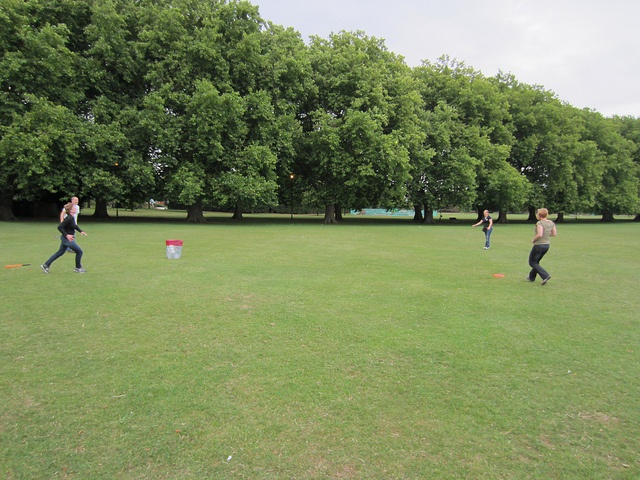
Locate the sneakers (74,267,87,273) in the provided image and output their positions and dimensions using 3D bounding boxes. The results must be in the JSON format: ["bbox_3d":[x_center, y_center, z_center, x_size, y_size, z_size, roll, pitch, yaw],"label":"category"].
[{"bbox_3d":[-7.548,0.949,15.641,0.373,0.165,0.154,3,7,-9],"label":"sneakers"}]

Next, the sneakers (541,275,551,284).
[{"bbox_3d":[6.900,1.180,15.139,0.160,0.179,0.428,11,35,28],"label":"sneakers"}]

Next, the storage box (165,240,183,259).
[{"bbox_3d":[-5.354,0.337,18.385,0.679,0.657,0.641,4,-4,-39],"label":"storage box"}]

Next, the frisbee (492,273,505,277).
[{"bbox_3d":[5.822,1.159,16.171,0.392,0.039,0.397,2,10,6],"label":"frisbee"}]
